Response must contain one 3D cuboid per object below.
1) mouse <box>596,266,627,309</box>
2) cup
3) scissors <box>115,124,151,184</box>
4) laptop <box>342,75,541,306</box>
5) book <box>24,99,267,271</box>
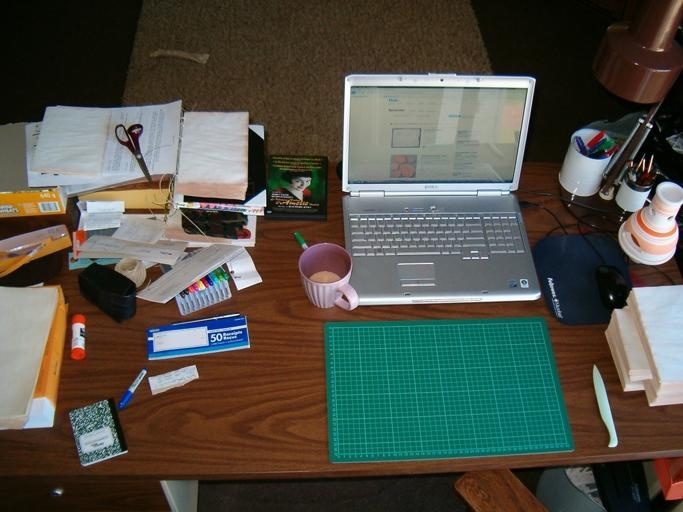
[{"bbox_3d":[0.658,0.078,1.277,0.061,0.029,0.098,-1,68,-9],"label":"mouse"},{"bbox_3d":[-0.041,0.051,1.256,0.121,0.125,0.179,-14,51,-12],"label":"cup"},{"bbox_3d":[-0.537,-0.274,1.357,0.084,0.016,0.187,-27,71,-1],"label":"scissors"},{"bbox_3d":[0.225,-0.112,1.445,0.640,0.477,0.520,-1,59,-1],"label":"laptop"},{"bbox_3d":[-0.525,-0.268,1.381,0.519,0.122,0.304,0,67,-2],"label":"book"}]
